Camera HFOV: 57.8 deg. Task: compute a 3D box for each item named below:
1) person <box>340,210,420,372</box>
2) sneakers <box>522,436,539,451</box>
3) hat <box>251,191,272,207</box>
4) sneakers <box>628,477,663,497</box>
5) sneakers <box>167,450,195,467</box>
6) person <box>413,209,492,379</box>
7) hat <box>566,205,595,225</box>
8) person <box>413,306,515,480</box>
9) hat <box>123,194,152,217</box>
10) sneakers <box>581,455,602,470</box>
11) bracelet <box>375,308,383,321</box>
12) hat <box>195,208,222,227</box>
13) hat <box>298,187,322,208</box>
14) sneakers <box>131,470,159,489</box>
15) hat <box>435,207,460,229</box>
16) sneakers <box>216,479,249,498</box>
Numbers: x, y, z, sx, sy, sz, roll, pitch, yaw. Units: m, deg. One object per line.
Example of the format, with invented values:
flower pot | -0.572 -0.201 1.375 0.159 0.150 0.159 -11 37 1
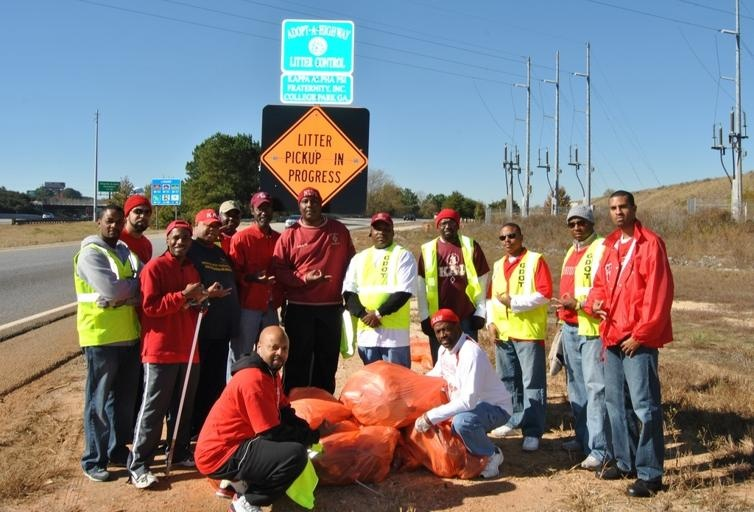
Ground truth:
person | 0.028 0.442 9.008 0.925 1.949 0.606 0 14 1
sneakers | 1.998 2.437 8.929 0.215 0.142 0.177 3 16 10
hat | -1.678 -0.804 9.687 0.247 0.226 0.441 2 -1 -15
sneakers | 3.050 2.629 7.898 0.396 0.207 0.183 0 4 -5
sneakers | -2.434 2.477 8.387 0.317 0.171 0.143 19 -33 1
person | 1.097 0.720 9.827 0.989 3.081 0.668 1 22 13
hat | 2.721 -0.548 9.148 0.248 0.216 0.267 -1 -9 26
person | 1.107 1.667 8.452 1.061 1.817 0.714 4 14 15
hat | -3.119 -0.680 8.883 0.274 0.300 0.324 -5 10 -11
sneakers | 2.613 2.547 8.431 0.248 0.114 0.127 36 -13 3
bracelet | -0.002 0.745 8.800 0.093 0.104 0.101 28 -1 -11
hat | -2.235 -0.532 8.980 0.199 0.176 0.275 3 -8 -40
hat | -0.931 -0.820 9.316 0.282 0.220 0.259 -4 16 -16
sneakers | -2.768 2.591 7.980 0.347 0.166 0.149 3 15 11
hat | 0.982 -0.557 9.692 0.215 0.310 0.323 3 9 -9
sneakers | -1.689 2.620 7.741 0.463 0.246 0.172 3 9 -11
